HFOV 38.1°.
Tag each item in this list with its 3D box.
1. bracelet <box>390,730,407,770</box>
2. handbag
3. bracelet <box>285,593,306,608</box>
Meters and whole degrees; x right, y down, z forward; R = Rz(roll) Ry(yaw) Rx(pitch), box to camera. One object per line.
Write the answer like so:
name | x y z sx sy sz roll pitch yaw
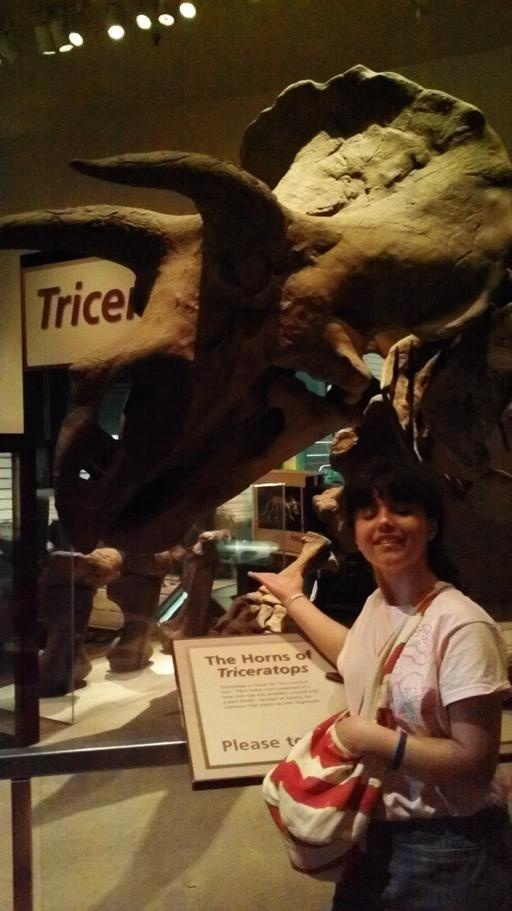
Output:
bracelet | 0.209 0.430 1.078 0.013 0.043 0.037 7 -20 8
handbag | 0.122 0.512 1.226 0.195 0.265 0.105 32 -5 6
bracelet | 0.082 0.297 1.517 0.030 0.008 0.031 -32 12 37
